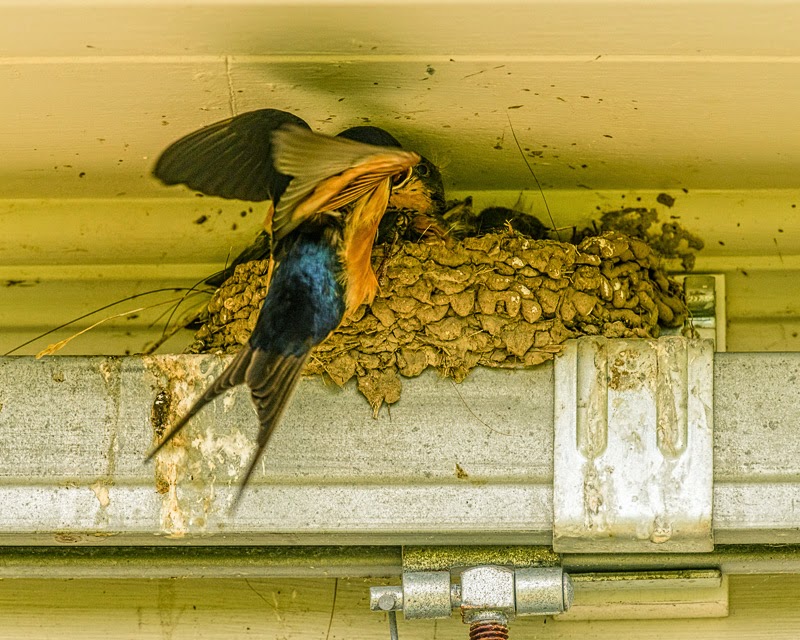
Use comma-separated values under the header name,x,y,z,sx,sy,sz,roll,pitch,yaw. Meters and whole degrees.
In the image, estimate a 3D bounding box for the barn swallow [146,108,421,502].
name,x,y,z,sx,sy,sz,roll,pitch,yaw
barn swallow,-0.376,-0.081,6.335,0.780,1.223,0.748,2,-10,-7
